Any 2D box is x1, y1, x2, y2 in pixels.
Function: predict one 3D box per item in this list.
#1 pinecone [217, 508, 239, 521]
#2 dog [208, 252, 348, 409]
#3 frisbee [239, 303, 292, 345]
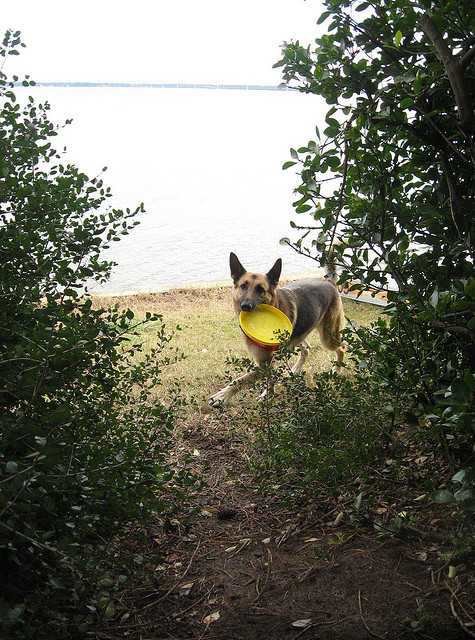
[{"bbox_3d":[-0.072,1.210,3.303,0.094,0.053,0.031,0,-40,-7],"label":"pinecone"},{"bbox_3d":[0.519,0.076,6.133,0.789,1.535,2.384,6,10,39],"label":"dog"},{"bbox_3d":[0.207,0.070,5.172,0.485,0.390,0.087,16,39,39],"label":"frisbee"}]
